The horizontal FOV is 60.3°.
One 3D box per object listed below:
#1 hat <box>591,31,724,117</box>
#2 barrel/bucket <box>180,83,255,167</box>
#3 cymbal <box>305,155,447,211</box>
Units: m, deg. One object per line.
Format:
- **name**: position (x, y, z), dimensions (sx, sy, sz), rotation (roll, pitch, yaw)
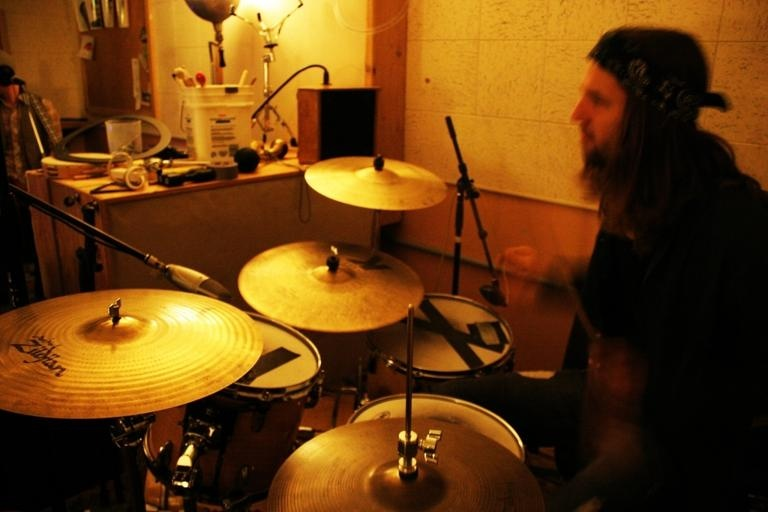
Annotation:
- **hat**: position (0.899, -0.602, 2.138), dimensions (0.362, 0.270, 0.189), rotation (38, 32, 19)
- **barrel/bucket**: position (-0.713, -0.592, 2.950), dimensions (0.344, 0.402, 0.348), rotation (3, 22, -1)
- **cymbal**: position (-0.028, -0.275, 2.593), dimensions (0.532, 0.203, 0.382), rotation (2, 20, 7)
